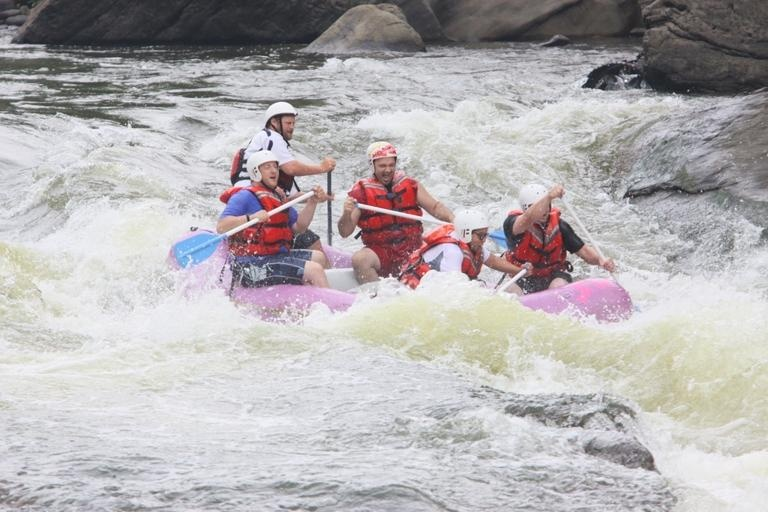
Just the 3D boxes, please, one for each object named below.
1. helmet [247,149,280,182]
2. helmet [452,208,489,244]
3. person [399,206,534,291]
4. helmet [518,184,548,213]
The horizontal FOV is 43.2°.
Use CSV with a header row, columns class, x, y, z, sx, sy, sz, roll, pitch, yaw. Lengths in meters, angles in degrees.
class,x,y,z,sx,sy,sz,roll,pitch,yaw
helmet,-1.613,-1.177,12.626,0.505,0.368,0.310,-8,88,25
helmet,1.057,-0.384,12.009,0.408,0.321,0.358,7,51,1
person,0.998,0.126,12.236,1.807,1.138,1.165,-4,80,8
helmet,1.869,-0.754,12.349,0.284,0.328,0.320,-2,52,-6
